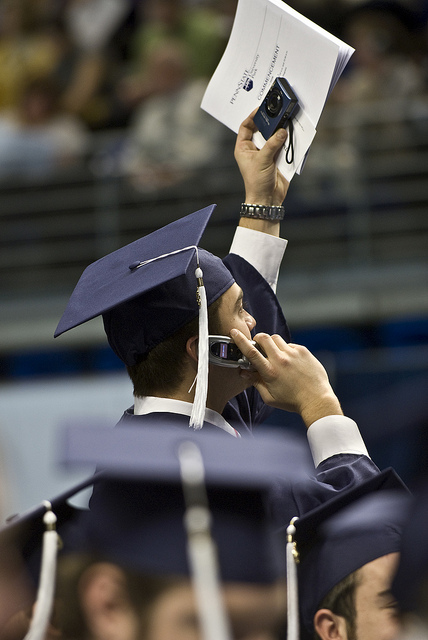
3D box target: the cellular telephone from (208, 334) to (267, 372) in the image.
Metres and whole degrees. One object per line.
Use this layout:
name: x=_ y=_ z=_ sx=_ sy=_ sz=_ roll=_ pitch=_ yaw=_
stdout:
cellular telephone: x=0.043 y=0.051 z=1.881 sx=0.096 sy=0.043 sz=0.024 roll=8 pitch=-15 yaw=-32

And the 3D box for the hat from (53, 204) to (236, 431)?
hat: x=-0.118 y=-0.083 z=2.118 sx=0.438 sy=0.523 sz=0.422 roll=11 pitch=25 yaw=6

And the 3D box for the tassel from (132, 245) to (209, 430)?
tassel: x=-0.061 y=0.031 z=1.853 sx=0.129 sy=0.270 sz=0.287 roll=-7 pitch=34 yaw=-12
